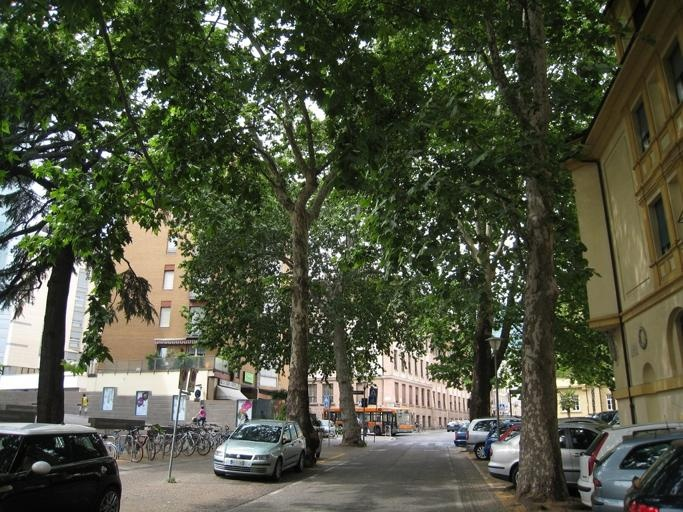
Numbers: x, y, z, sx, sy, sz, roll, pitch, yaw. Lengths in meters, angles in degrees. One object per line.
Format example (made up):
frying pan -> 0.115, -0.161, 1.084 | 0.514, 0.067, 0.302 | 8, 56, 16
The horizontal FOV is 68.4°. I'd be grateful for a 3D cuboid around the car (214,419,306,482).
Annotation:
car -> -2.498, 6.854, 17.591 | 1.569, 1.273, 3.179 | -5, -28, 11
